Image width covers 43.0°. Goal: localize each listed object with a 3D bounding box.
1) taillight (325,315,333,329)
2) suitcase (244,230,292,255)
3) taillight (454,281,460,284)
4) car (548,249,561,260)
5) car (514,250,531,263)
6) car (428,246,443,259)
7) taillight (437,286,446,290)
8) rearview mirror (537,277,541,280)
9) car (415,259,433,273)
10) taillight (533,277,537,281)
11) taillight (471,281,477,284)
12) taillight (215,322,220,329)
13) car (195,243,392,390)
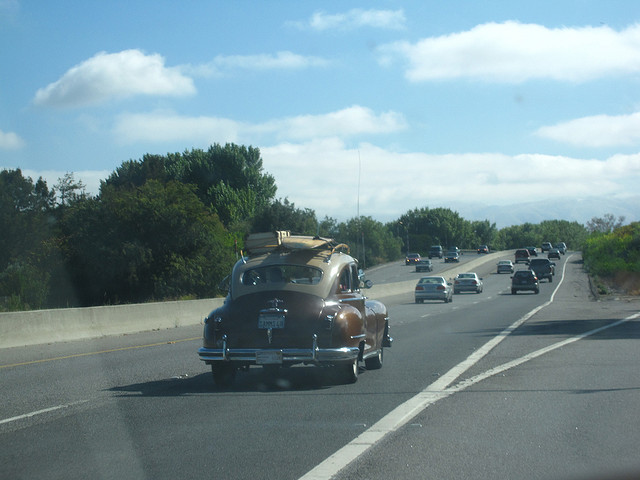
[{"bbox_3d":[0.162,1.495,14.648,0.131,0.227,0.108,0,1,8],"label":"taillight"},{"bbox_3d":[-1.065,0.075,15.847,0.808,0.455,0.573,0,1,1],"label":"suitcase"},{"bbox_3d":[8.802,2.812,52.283,0.342,0.167,0.187,1,1,37],"label":"taillight"},{"bbox_3d":[28.977,1.834,100.880,1.007,1.120,2.114,1,4,13],"label":"car"},{"bbox_3d":[25.020,2.200,100.749,1.183,1.166,2.119,1,6,13],"label":"car"},{"bbox_3d":[16.448,1.906,115.828,1.665,1.813,3.455,0,1,13],"label":"car"},{"bbox_3d":[6.227,2.515,41.721,0.394,0.167,0.136,0,1,-11],"label":"taillight"},{"bbox_3d":[17.107,3.106,63.424,0.061,0.253,0.226,-6,5,-42],"label":"rearview mirror"},{"bbox_3d":[11.227,2.872,87.353,1.137,1.065,2.816,1,3,12],"label":"car"},{"bbox_3d":[12.698,2.364,48.111,0.183,0.156,0.416,-6,-3,11],"label":"taillight"},{"bbox_3d":[9.851,2.784,51.768,0.344,0.160,0.168,0,1,-18],"label":"taillight"},{"bbox_3d":[-1.870,1.592,14.869,0.090,0.113,0.041,0,1,8],"label":"taillight"},{"bbox_3d":[-0.501,1.415,15.340,3.490,2.598,2.065,0,1,-11],"label":"car"}]
